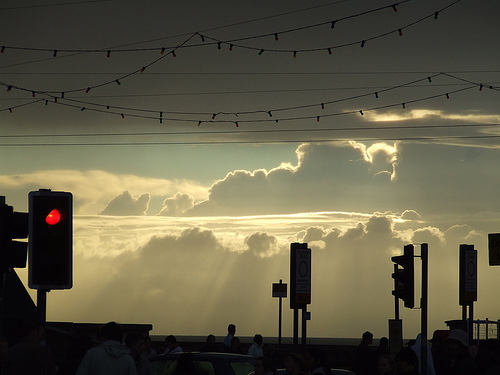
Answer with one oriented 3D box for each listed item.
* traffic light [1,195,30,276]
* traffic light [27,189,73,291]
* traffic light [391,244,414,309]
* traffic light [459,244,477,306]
[{"bbox_3d":[-3.505,0.738,14.410,0.432,1.182,0.156,5,-7,-11],"label":"traffic light"},{"bbox_3d":[-2.925,0.779,14.293,0.711,1.508,0.362,5,-7,-13],"label":"traffic light"},{"bbox_3d":[2.835,1.623,17.623,0.388,1.127,0.852,3,-7,9],"label":"traffic light"},{"bbox_3d":[6.940,2.771,30.419,0.522,1.847,0.745,2,-7,11],"label":"traffic light"}]
